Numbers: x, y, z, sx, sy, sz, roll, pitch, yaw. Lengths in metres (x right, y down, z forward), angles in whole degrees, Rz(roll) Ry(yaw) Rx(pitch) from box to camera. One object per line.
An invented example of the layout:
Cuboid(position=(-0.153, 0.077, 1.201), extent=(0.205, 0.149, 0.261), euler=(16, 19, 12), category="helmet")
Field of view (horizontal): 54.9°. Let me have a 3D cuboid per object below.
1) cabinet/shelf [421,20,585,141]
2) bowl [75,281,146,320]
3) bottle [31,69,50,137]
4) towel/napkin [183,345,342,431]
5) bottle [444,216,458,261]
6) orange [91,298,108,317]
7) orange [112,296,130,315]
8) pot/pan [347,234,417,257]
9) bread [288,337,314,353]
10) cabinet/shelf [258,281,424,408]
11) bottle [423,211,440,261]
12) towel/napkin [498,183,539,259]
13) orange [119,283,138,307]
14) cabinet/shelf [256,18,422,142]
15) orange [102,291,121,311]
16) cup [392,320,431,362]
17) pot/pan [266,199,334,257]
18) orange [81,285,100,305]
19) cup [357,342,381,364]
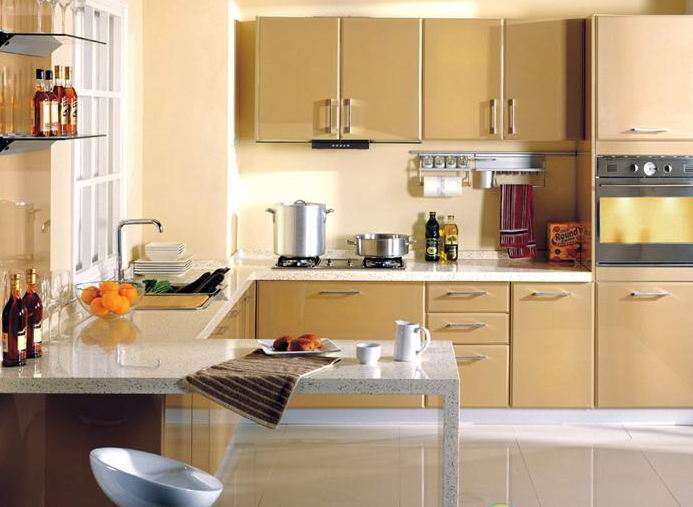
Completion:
Cuboid(position=(1.039, -1.214, 4.790), extent=(1.273, 0.829, 0.613), euler=(-4, 13, -11), category="cabinet/shelf")
Cuboid(position=(-1.119, 0.210, 3.144), extent=(0.285, 0.146, 0.273), euler=(-1, 2, 0), category="bowl")
Cuboid(position=(-1.283, -0.632, 2.780), extent=(0.070, 0.272, 0.149), euler=(-4, 11, -23), category="bottle")
Cuboid(position=(-0.305, 0.472, 2.502), extent=(0.477, 0.151, 0.472), euler=(5, 5, 16), category="towel/napkin")
Cuboid(position=(0.782, -0.118, 4.925), extent=(0.109, 0.323, 0.221), euler=(2, 10, 9), category="bottle")
Cuboid(position=(-1.134, 0.238, 3.066), extent=(0.086, 0.080, 0.047), euler=(2, 13, 41), category="orange")
Cuboid(position=(-1.031, 0.233, 3.050), extent=(0.086, 0.077, 0.081), euler=(1, 2, -10), category="orange")
Cuboid(position=(0.240, -0.066, 4.781), extent=(0.370, 0.160, 0.425), euler=(0, 9, -4), category="pot/pan")
Cuboid(position=(-0.175, 0.357, 2.639), extent=(0.062, 0.031, 0.062), euler=(2, 4, 4), category="bread")
Cuboid(position=(-0.012, 0.750, 4.785), extent=(1.556, 0.970, 0.803), euler=(0, -3, 3), category="cabinet/shelf")
Cuboid(position=(0.637, -0.132, 4.911), extent=(0.116, 0.349, 0.234), euler=(1, 10, 7), category="bottle")
Cuboid(position=(1.246, -0.234, 4.835), extent=(0.305, 0.496, 0.124), euler=(1, 0, 10), category="towel/napkin")
Cuboid(position=(-1.003, 0.192, 3.075), extent=(0.103, 0.111, 0.100), euler=(-2, 0, 1), category="orange")
Cuboid(position=(-0.140, -1.174, 4.868), extent=(1.233, 0.769, 0.631), euler=(-2, 8, -21), category="cabinet/shelf")
Cuboid(position=(-1.070, 0.212, 3.075), extent=(0.080, 0.079, 0.084), euler=(-34, -21, 24), category="orange")
Cuboid(position=(0.243, 0.335, 2.635), extent=(0.198, 0.162, 0.118), euler=(4, 4, 25), category="cup")
Cuboid(position=(-0.316, -0.155, 4.707), extent=(0.595, 0.426, 0.363), euler=(0, -2, -3), category="pot/pan")
Cuboid(position=(-1.174, 0.186, 3.091), extent=(0.084, 0.076, 0.077), euler=(-25, -9, 2), category="orange")
Cuboid(position=(0.084, 0.377, 2.542), extent=(0.075, 0.047, 0.078), euler=(0, 4, 0), category="cup")
